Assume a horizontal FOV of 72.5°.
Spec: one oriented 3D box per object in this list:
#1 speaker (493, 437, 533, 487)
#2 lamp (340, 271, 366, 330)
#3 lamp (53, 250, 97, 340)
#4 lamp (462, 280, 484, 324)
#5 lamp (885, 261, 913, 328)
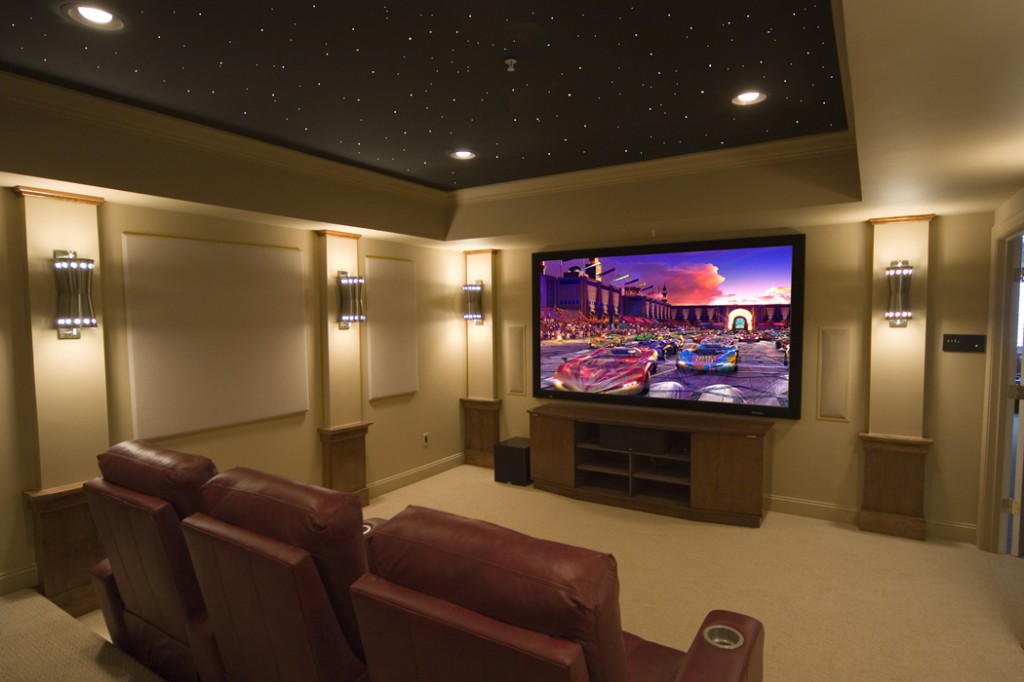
[{"bbox_3d":[0.008,1.313,7.439,0.398,0.413,0.385,2,-5,21],"label":"speaker"},{"bbox_3d":[-1.558,-0.403,6.746,0.200,0.544,0.275,9,16,30],"label":"lamp"},{"bbox_3d":[-3.182,-0.338,5.068,0.281,0.642,0.158,-8,16,-32],"label":"lamp"},{"bbox_3d":[-0.452,-0.459,8.002,0.325,0.487,0.201,13,18,42],"label":"lamp"},{"bbox_3d":[3.348,-0.413,6.013,0.254,0.579,0.180,8,15,26],"label":"lamp"}]
